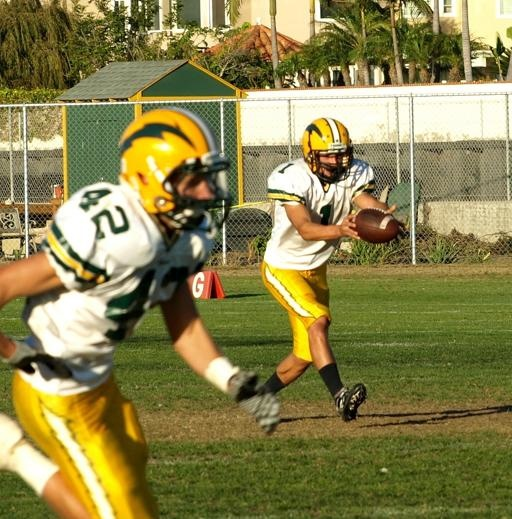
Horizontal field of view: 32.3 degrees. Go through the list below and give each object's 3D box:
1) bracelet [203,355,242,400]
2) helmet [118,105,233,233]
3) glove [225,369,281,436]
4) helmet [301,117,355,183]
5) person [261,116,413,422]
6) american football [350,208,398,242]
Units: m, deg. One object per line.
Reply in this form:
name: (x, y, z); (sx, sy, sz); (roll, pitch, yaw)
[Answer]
bracelet: (-0.119, 0.383, 2.909); (0.119, 0.113, 0.214); (-1, 13, -26)
helmet: (-0.229, -0.296, 2.707); (0.389, 0.323, 0.285); (19, 18, 22)
glove: (-0.005, 0.458, 2.862); (0.230, 0.118, 0.107); (42, -2, 3)
helmet: (0.379, -0.635, 4.928); (0.224, 0.393, 0.357); (0, 12, -13)
person: (0.537, 0.038, 5.046); (0.626, 1.557, 0.928); (-2, 2, -44)
american football: (0.626, -0.172, 4.715); (0.153, 0.129, 0.220); (0, 6, -8)
